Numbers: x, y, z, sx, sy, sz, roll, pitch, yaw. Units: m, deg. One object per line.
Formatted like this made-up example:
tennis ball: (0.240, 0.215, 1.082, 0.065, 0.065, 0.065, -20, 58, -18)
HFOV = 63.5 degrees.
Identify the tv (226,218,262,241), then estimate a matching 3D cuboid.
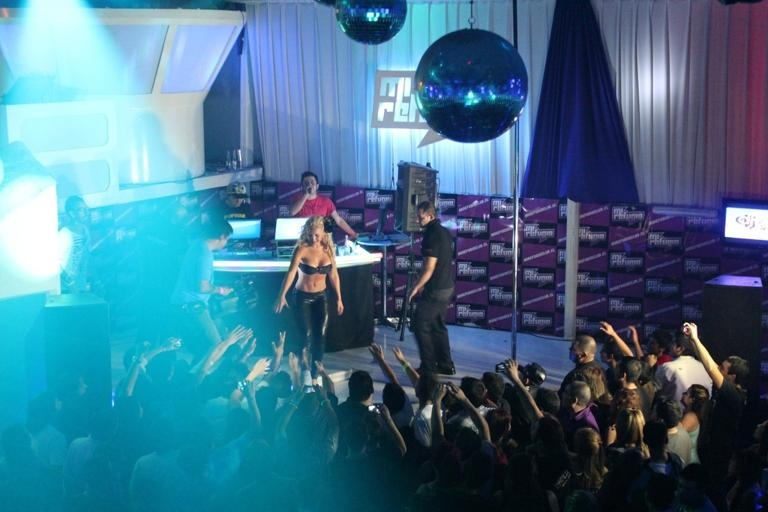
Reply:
tv: (-1.874, -0.357, 8.376, 0.473, 0.315, 0.254, 1, 16, -3)

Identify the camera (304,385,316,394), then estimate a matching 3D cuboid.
camera: (-0.543, 0.975, 4.512, 0.061, 0.077, 0.121, 3, 3, 4)

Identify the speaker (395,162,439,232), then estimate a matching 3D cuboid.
speaker: (0.441, -0.789, 8.486, 0.552, 0.965, 0.780, 0, 9, -5)

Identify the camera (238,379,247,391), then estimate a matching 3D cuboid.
camera: (-1.101, 0.984, 4.818, 0.034, 0.116, 0.084, 7, -1, 33)

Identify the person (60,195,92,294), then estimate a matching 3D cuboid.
person: (-3.553, -0.136, 7.127, 0.288, 1.109, 0.567, 0, 3, -26)
